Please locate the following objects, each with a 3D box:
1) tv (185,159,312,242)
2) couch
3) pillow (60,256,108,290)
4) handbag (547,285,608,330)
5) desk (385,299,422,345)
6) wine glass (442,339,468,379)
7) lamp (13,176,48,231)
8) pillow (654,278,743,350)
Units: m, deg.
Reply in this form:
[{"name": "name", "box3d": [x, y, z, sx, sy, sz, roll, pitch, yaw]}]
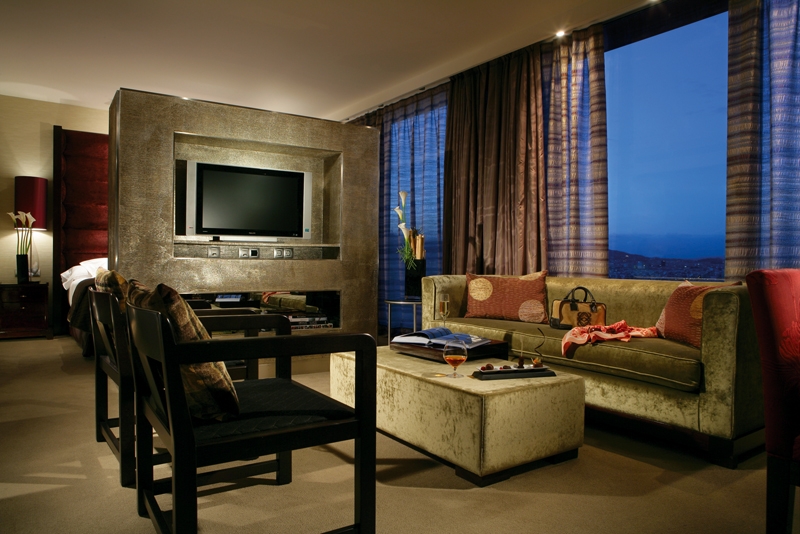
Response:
[{"name": "tv", "box3d": [-1.509, -0.671, 6.007, 1.231, 0.682, 0.110, 5, 8, 14]}, {"name": "couch", "box3d": [1.467, 0.626, 4.853, 0.982, 0.998, 2.878, -5, 4, -40]}, {"name": "pillow", "box3d": [-3.440, 0.068, 6.299, 0.359, 0.103, 0.376, -16, 7, 40]}, {"name": "handbag", "box3d": [1.449, 0.322, 4.689, 0.425, 0.315, 0.164, 3, 1, -14]}, {"name": "desk", "box3d": [0.013, 0.638, 6.924, 0.579, 0.575, 0.531, -1, 0, 11]}, {"name": "wine glass", "box3d": [0.346, 0.567, 3.679, 0.125, 0.240, 0.264, 1, 13, 4]}, {"name": "lamp", "box3d": [-4.666, -0.801, 7.393, 0.361, 0.672, 0.209, -8, 16, -31]}, {"name": "pillow", "box3d": [2.063, 0.317, 4.143, 0.198, 0.403, 0.503, -2, 2, -2]}]
